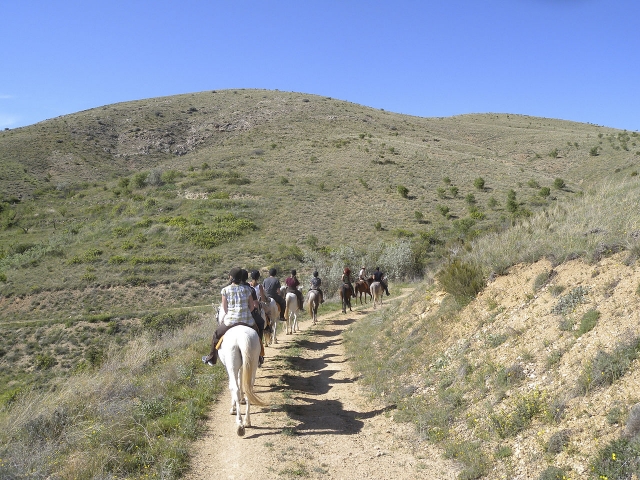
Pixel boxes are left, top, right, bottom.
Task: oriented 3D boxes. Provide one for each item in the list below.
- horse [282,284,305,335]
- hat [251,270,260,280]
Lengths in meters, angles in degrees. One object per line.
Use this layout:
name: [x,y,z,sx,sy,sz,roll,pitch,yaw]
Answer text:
horse: [-1.153,2.939,20.437,0.595,2.002,2.534,-1,-6,9]
hat: [-1.912,1.048,14.059,0.202,0.299,0.281,7,9,2]
